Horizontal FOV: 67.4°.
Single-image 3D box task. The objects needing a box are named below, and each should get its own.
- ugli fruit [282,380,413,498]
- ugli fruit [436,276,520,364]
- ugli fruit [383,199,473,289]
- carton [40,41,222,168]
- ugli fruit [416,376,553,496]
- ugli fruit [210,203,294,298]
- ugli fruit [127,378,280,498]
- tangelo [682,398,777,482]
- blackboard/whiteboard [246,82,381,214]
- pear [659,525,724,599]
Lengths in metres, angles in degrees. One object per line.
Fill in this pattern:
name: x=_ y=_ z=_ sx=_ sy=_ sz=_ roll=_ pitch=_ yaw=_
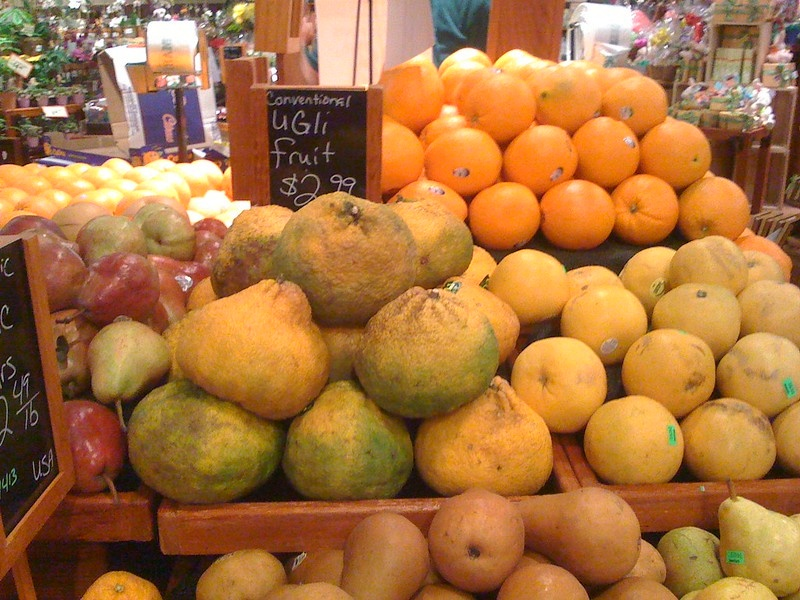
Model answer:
ugli fruit: x=-0.143 y=0.430 z=1.687 sx=0.317 sy=0.323 sz=0.320 roll=-1 pitch=-20 yaw=-2
ugli fruit: x=0.258 y=0.036 z=1.940 sx=0.269 sy=0.287 sz=0.259 roll=1 pitch=6 yaw=14
ugli fruit: x=0.106 y=-0.202 z=2.097 sx=0.281 sy=0.230 sz=0.273 roll=-16 pitch=17 yaw=-18
carton: x=-2.349 y=-1.533 z=5.339 sx=1.379 sy=1.419 sz=1.427 roll=-10 pitch=10 yaw=-33
ugli fruit: x=0.329 y=0.415 z=1.843 sx=0.316 sy=0.292 sz=0.300 roll=-4 pitch=23 yaw=17
ugli fruit: x=-0.466 y=-0.159 z=1.870 sx=0.177 sy=0.308 sz=0.233 roll=37 pitch=3 yaw=0
ugli fruit: x=-0.569 y=0.393 z=1.733 sx=0.342 sy=0.277 sz=0.321 roll=5 pitch=14 yaw=-32
tangelo: x=1.088 y=0.429 z=2.020 sx=0.281 sy=0.273 sz=0.261 roll=-12 pitch=4 yaw=35
blackboard/whiteboard: x=-0.348 y=-0.618 z=2.479 sx=0.483 sy=0.570 sz=0.085 roll=0 pitch=42 yaw=-10
pear: x=0.838 y=0.753 z=1.796 sx=0.163 sy=0.207 sz=0.171 roll=-14 pitch=-2 yaw=3
